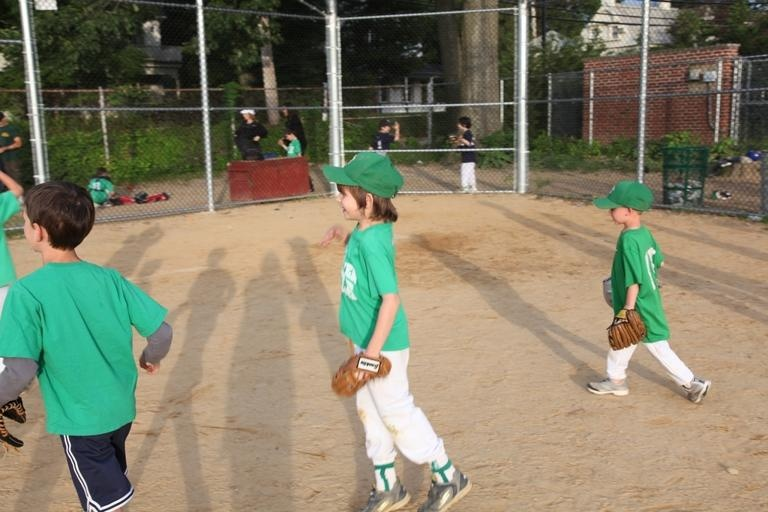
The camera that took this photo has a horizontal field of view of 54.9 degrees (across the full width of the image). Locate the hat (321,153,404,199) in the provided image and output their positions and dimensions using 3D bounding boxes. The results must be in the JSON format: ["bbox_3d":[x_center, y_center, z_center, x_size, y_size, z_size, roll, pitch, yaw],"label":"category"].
[{"bbox_3d":[-0.087,-0.544,4.928,0.628,0.190,0.288,6,20,-4],"label":"hat"}]

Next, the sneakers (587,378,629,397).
[{"bbox_3d":[1.916,1.122,6.341,0.376,0.103,0.134,2,8,5],"label":"sneakers"}]

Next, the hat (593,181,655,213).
[{"bbox_3d":[2.048,-0.498,6.192,0.541,0.174,0.288,7,18,20],"label":"hat"}]

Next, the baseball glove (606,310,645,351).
[{"bbox_3d":[1.981,0.602,6.017,0.367,0.290,0.175,-3,-5,1],"label":"baseball glove"}]

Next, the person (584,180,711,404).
[{"bbox_3d":[2.168,0.293,6.178,0.918,1.834,0.588,-2,16,11],"label":"person"}]

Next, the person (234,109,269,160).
[{"bbox_3d":[-2.664,-2.455,14.939,0.649,1.011,2.548,-6,11,-9],"label":"person"}]

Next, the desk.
[{"bbox_3d":[-2.177,-1.469,14.263,1.510,0.488,0.567,-8,11,-39],"label":"desk"}]
